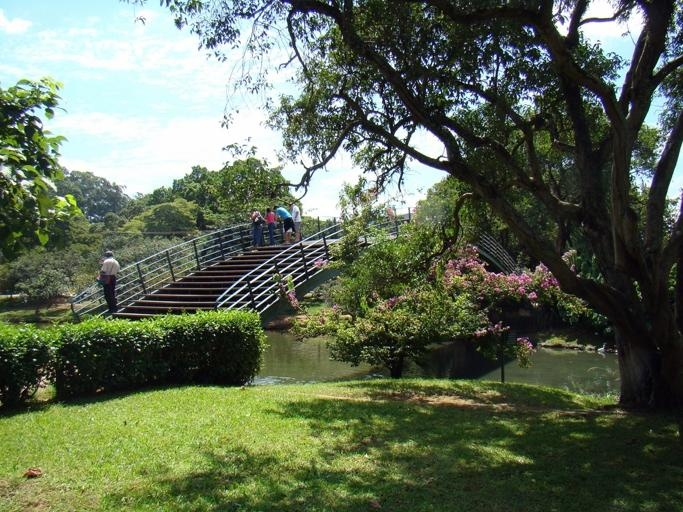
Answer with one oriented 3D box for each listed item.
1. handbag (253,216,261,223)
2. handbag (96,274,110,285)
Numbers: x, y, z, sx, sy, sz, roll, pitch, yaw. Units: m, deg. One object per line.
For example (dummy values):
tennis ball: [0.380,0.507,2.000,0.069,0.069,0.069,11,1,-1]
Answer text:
handbag: [-3.507,-1.519,21.082,0.365,0.260,0.311,3,-2,-31]
handbag: [-7.974,0.784,16.832,0.299,0.388,0.233,-41,-46,21]
